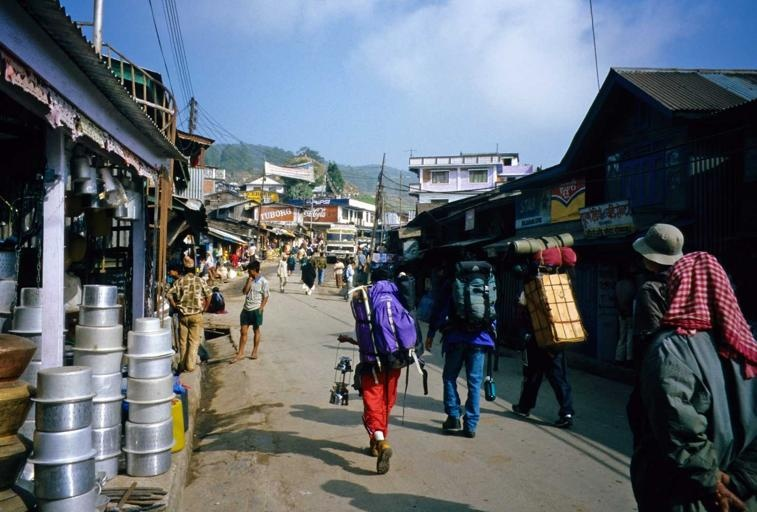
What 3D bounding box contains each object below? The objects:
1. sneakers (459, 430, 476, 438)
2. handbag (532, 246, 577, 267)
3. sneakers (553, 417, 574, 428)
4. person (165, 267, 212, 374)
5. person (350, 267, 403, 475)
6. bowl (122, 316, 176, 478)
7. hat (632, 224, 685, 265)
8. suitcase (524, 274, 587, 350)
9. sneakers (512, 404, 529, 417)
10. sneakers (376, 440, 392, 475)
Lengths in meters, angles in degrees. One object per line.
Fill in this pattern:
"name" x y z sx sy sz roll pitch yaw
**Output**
"sneakers" 1.144 2.208 7.430 0.179 0.105 0.117 1 4 12
"handbag" 2.406 0.013 7.929 0.366 0.160 0.325 1 6 1
"sneakers" 2.444 2.161 7.774 0.249 0.181 0.105 3 1 44
"person" -3.104 1.025 9.699 0.681 1.660 0.716 -1 4 -20
"person" 0.021 1.246 6.730 0.564 2.160 1.051 -1 4 -18
"bowl" -2.284 1.379 5.875 0.474 1.510 0.389 -1 4 -23
"hat" 2.363 -0.123 4.977 0.333 0.198 0.363 -17 39 -39
"suitcase" 2.300 0.696 7.663 0.569 0.942 0.711 0 4 -11
"sneakers" 1.984 2.143 8.206 0.107 0.123 0.259 -4 10 -21
"sneakers" 0.048 2.163 6.349 0.137 0.373 0.166 -1 28 -13
